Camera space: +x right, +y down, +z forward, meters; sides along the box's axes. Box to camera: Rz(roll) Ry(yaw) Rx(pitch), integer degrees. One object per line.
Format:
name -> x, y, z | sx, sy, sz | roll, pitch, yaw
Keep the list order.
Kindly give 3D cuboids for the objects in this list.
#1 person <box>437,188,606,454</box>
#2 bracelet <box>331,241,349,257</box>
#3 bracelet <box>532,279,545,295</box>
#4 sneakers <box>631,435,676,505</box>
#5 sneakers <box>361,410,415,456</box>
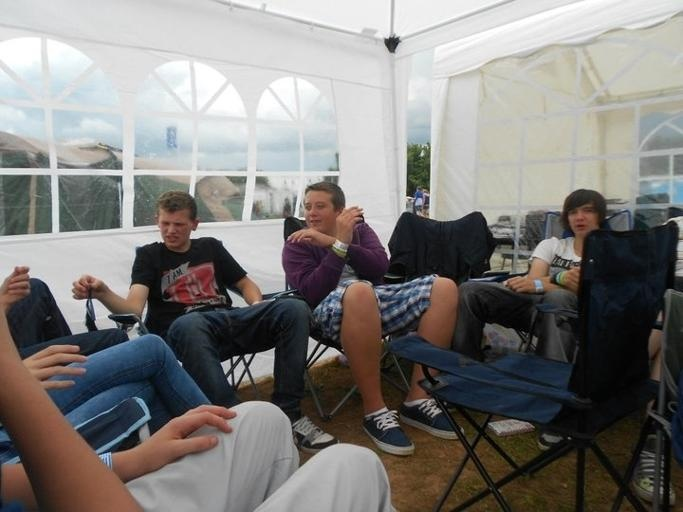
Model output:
person -> 1.167, 0.228, 2.890 | 0.845, 1.290, 0.671 | 5, 5, -22
bracelet -> 0.001, -0.034, 2.631 | 0.083, 0.072, 0.078 | 20, 3, 36
bracelet -> 1.183, 0.186, 2.907 | 0.053, 0.030, 0.081 | 2, 48, 6
sneakers -> 1.331, 0.893, 2.119 | 0.171, 0.203, 0.487 | -4, -7, 23
sneakers -> 0.225, 0.857, 2.372 | 0.111, 0.128, 0.298 | -8, 1, -26
